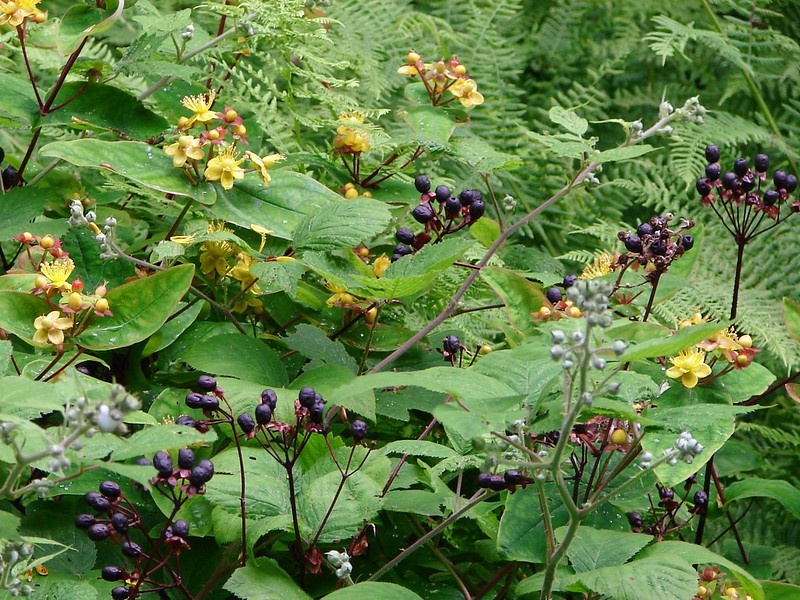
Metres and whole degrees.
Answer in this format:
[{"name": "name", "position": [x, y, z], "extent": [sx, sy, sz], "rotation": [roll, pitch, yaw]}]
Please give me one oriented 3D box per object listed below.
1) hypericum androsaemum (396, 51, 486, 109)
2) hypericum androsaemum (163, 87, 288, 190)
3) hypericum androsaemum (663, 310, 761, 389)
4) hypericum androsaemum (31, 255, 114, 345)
[{"name": "hypericum androsaemum", "position": [0.119, -0.621, 3.002], "extent": [0.241, 0.148, 0.173], "rotation": [20, 30, -4]}, {"name": "hypericum androsaemum", "position": [-0.465, -0.450, 2.765], "extent": [0.292, 0.148, 0.277], "rotation": [36, -6, -37]}, {"name": "hypericum androsaemum", "position": [0.758, 0.134, 2.645], "extent": [0.206, 0.138, 0.226], "rotation": [-15, 23, 5]}, {"name": "hypericum androsaemum", "position": [-0.796, 0.010, 2.538], "extent": [0.183, 0.109, 0.211], "rotation": [19, 36, -10]}]
